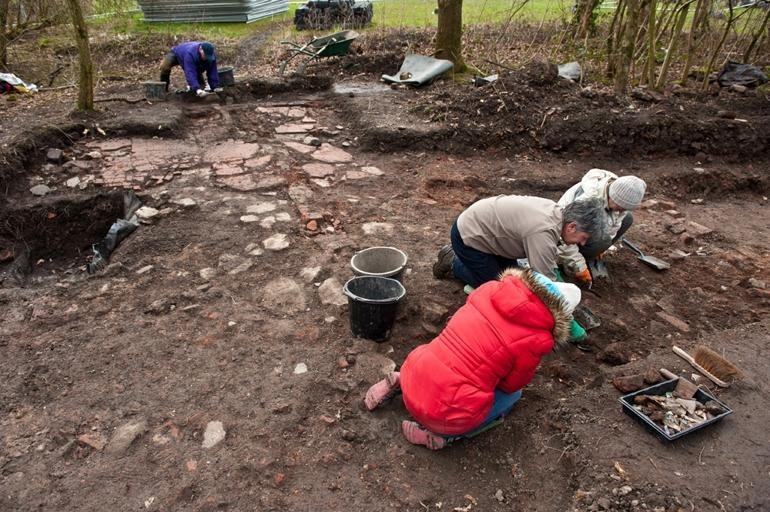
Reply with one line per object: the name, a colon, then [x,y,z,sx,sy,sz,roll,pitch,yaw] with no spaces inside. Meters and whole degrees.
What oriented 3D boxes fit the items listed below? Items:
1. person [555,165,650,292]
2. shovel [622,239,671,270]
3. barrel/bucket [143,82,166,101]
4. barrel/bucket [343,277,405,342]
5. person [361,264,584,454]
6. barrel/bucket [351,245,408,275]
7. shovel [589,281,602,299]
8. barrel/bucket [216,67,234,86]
person: [2.273,-0.224,5.495,0.851,1.219,0.915,34,41,27]
shovel: [2.883,-0.012,5.928,0.195,0.103,0.650,-8,32,-17]
barrel/bucket: [-3.807,-2.741,8.781,0.332,0.238,0.327,2,14,-1]
barrel/bucket: [-0.082,0.471,5.143,0.545,0.650,0.667,16,36,19]
person: [0.788,0.822,4.584,1.939,1.090,1.014,-27,47,-21]
barrel/bucket: [-0.048,0.038,5.211,0.365,0.295,0.367,-1,34,0]
shovel: [2.221,0.360,5.602,0.178,0.180,0.115,3,34,27]
barrel/bucket: [-2.808,-3.169,9.385,0.331,0.241,0.334,-3,41,2]
